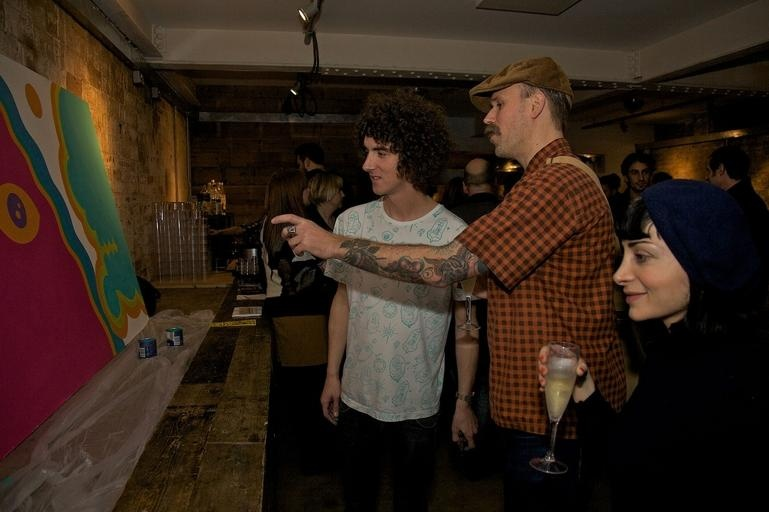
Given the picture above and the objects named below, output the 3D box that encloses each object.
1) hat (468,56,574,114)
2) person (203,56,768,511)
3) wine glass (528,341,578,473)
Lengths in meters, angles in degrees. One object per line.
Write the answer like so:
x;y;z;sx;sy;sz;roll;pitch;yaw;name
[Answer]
0.581;-0.719;2.247;0.376;0.180;0.286;3;0;11;hat
0.589;0.174;2.113;1.449;1.928;0.567;0;8;17;person
0.649;0.571;2.011;0.184;0.512;0.199;-2;7;-2;wine glass
